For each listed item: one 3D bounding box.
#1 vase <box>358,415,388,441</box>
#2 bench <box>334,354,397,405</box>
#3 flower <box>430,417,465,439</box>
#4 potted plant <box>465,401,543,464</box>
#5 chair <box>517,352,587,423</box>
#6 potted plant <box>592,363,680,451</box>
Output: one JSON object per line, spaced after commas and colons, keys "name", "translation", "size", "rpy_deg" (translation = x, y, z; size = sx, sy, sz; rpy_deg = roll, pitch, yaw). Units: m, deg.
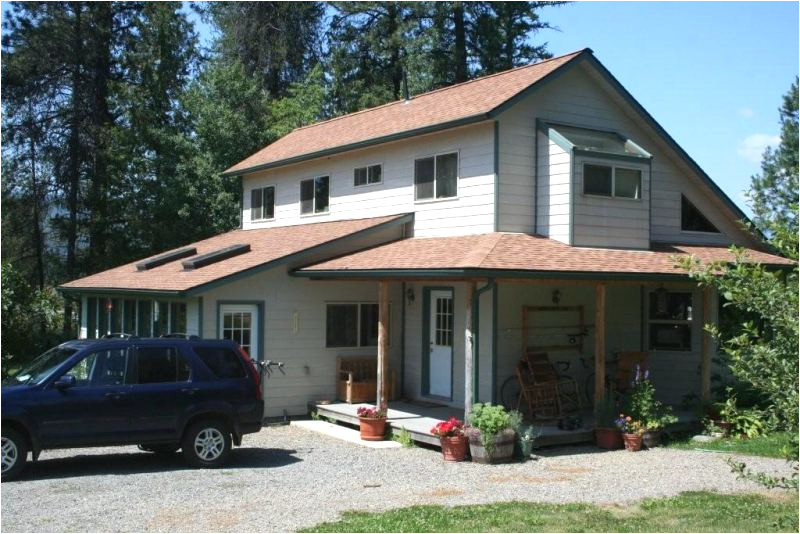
{"name": "vase", "translation": [-0.691, 4.219, 22.400], "size": [0.625, 0.444, 0.617], "rpy_deg": [0, -7, 2]}
{"name": "bench", "translation": [-1.055, 3.316, 25.264], "size": [1.526, 1.340, 0.713], "rpy_deg": [3, -4, -36]}
{"name": "flower", "translation": [1.165, 3.926, 20.730], "size": [0.586, 0.309, 0.564], "rpy_deg": [-3, -2, 9]}
{"name": "potted plant", "translation": [2.506, 3.998, 20.439], "size": [1.586, 1.158, 1.289], "rpy_deg": [3, -8, -4]}
{"name": "chair", "translation": [4.074, 3.320, 23.280], "size": [1.799, 1.161, 0.691], "rpy_deg": [3, -11, -41]}
{"name": "potted plant", "translation": [6.104, 3.580, 22.036], "size": [2.015, 2.052, 1.007], "rpy_deg": [-4, 8, -33]}
